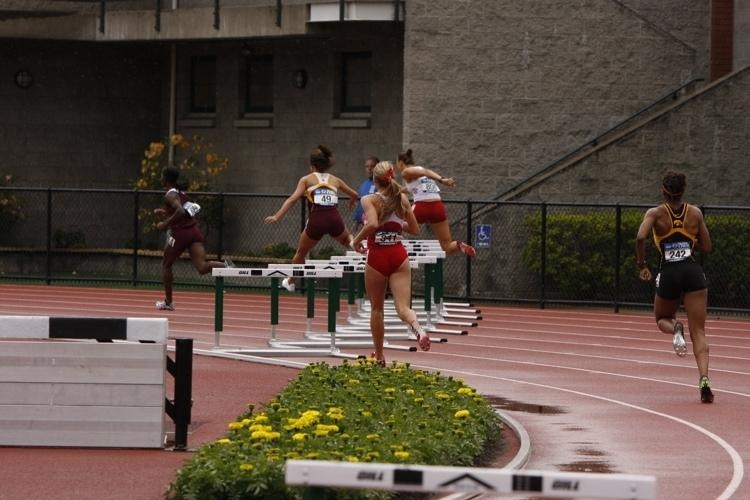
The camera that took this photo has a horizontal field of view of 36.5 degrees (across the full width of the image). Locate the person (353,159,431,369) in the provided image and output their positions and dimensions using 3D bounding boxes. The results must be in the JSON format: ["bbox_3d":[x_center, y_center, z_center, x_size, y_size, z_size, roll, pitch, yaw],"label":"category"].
[{"bbox_3d":[0.156,0.197,16.637,1.034,3.048,1.536,0,-5,-3],"label":"person"}]

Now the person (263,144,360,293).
[{"bbox_3d":[-1.115,-0.587,21.250,1.548,2.914,1.106,0,1,28],"label":"person"}]
